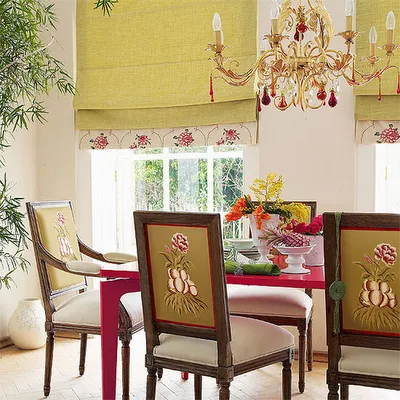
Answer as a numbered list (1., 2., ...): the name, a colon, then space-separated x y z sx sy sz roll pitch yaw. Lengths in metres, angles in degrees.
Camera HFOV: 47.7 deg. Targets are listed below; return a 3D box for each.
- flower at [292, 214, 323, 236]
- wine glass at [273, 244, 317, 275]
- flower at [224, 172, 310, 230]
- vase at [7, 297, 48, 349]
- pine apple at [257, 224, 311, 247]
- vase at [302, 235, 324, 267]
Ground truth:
1. flower: 0.511 0.122 2.134 0.106 0.087 0.114 -13 2 29
2. wine glass: 0.429 0.254 1.978 0.122 0.087 0.127 -6 -6 44
3. flower: 0.373 0.024 2.298 0.382 0.273 0.401 -4 -2 27
4. vase: -1.330 0.970 3.520 0.292 0.353 0.308 2 -3 -11
5. pine apple: 0.378 0.142 2.063 0.202 0.104 0.103 2 8 26
6. vase: 0.549 0.230 2.154 0.132 0.149 0.121 -6 7 -43
